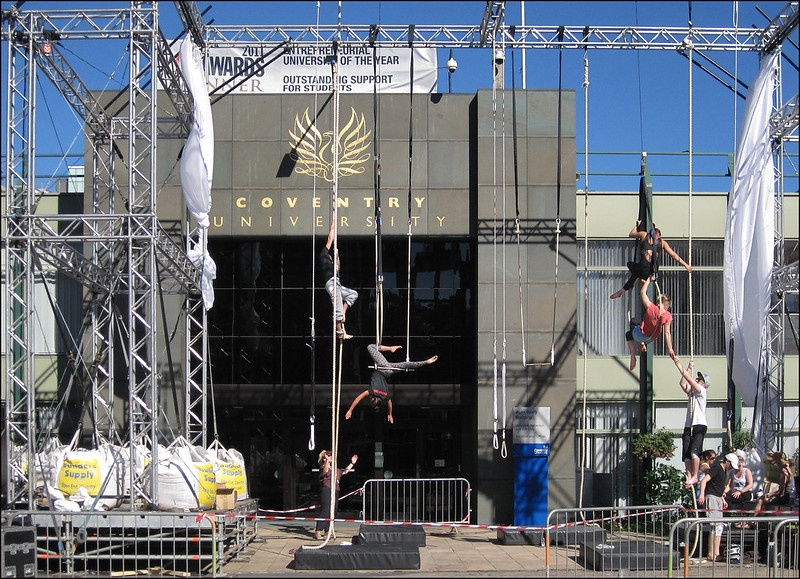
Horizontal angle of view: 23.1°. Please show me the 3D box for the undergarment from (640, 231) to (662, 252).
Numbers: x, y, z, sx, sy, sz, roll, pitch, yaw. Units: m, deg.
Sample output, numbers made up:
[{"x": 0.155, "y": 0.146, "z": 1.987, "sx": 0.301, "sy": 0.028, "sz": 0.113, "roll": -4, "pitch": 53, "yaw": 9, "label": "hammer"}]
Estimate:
[{"x": 6.063, "y": -1.111, "z": 47.486, "sx": 0.462, "sy": 0.498, "sz": 0.599, "roll": -3, "pitch": -10, "yaw": 20, "label": "undergarment"}]

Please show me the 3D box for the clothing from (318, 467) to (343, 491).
[{"x": -1.842, "y": 4.627, "z": 48.631, "sx": 0.836, "sy": 0.702, "sz": 0.466, "roll": -2, "pitch": -8, "yaw": 12, "label": "clothing"}]

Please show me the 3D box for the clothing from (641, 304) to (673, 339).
[{"x": 6.248, "y": 0.763, "z": 47.776, "sx": 0.432, "sy": 0.765, "sz": 0.781, "roll": 0, "pitch": -16, "yaw": 35, "label": "clothing"}]

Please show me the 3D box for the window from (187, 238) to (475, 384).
[{"x": -1.845, "y": 0.620, "z": 51.689, "sx": 7.432, "sy": 4.251, "sz": 0.094, "roll": 0, "pitch": -1, "yaw": 12, "label": "window"}]

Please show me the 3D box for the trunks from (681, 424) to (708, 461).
[{"x": 7.154, "y": 3.730, "z": 47.936, "sx": 0.696, "sy": 0.828, "sz": 0.334, "roll": -7, "pitch": -12, "yaw": 38, "label": "trunks"}]

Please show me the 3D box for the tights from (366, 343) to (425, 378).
[{"x": -0.133, "y": 1.820, "z": 49.831, "sx": 1.244, "sy": 0.385, "sz": 0.807, "roll": 7, "pitch": 32, "yaw": 23, "label": "tights"}]

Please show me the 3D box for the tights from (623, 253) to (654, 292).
[{"x": 5.817, "y": -0.411, "z": 47.530, "sx": 0.787, "sy": 0.807, "sz": 0.528, "roll": -2, "pitch": -9, "yaw": 13, "label": "tights"}]

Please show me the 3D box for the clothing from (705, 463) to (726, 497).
[{"x": 7.581, "y": 4.586, "z": 47.154, "sx": 0.408, "sy": 0.735, "sz": 0.721, "roll": 10, "pitch": -6, "yaw": -18, "label": "clothing"}]

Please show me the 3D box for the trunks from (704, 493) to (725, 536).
[{"x": 7.474, "y": 5.304, "z": 46.560, "sx": 0.355, "sy": 1.175, "sz": 0.387, "roll": -9, "pitch": -39, "yaw": 28, "label": "trunks"}]

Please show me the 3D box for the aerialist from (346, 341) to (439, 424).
[{"x": -0.247, "y": 1.804, "z": 47.991, "sx": 2.008, "sy": 1.928, "sz": 0.934, "roll": -17, "pitch": 13, "yaw": -8, "label": "aerialist"}]
